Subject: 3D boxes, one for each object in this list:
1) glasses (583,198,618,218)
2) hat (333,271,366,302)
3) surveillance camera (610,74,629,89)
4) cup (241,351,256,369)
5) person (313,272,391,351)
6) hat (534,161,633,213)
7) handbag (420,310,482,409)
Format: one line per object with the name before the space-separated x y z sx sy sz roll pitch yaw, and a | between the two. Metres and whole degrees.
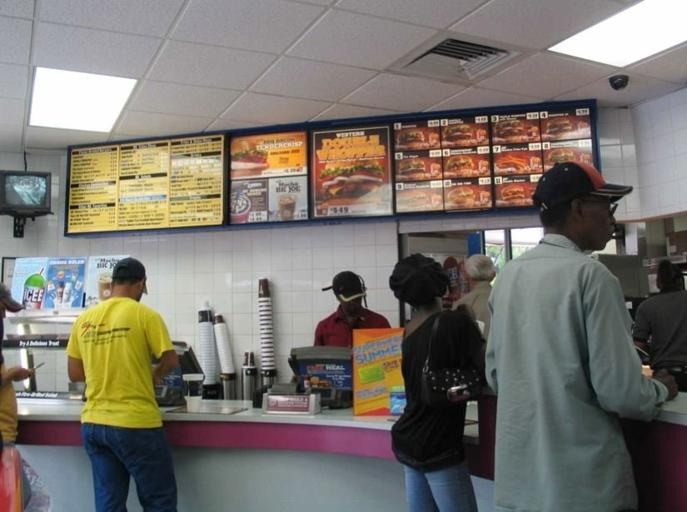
glasses | 0.987 -0.188 2.197 0.090 0.025 0.088 3 -11 42
hat | 0.037 0.220 3.976 0.175 0.120 0.240 -15 26 -21
surveillance camera | 2.123 -1.340 4.451 0.101 0.065 0.102 6 -22 2
cup | -0.894 0.982 5.469 0.135 0.142 0.131 -1 -6 0
person | 0.085 0.426 4.434 0.579 0.775 0.401 -9 18 -5
hat | 0.897 -0.265 2.180 0.319 0.154 0.189 -3 6 10
handbag | 0.463 0.427 2.460 0.277 0.383 0.165 -3 -3 9
